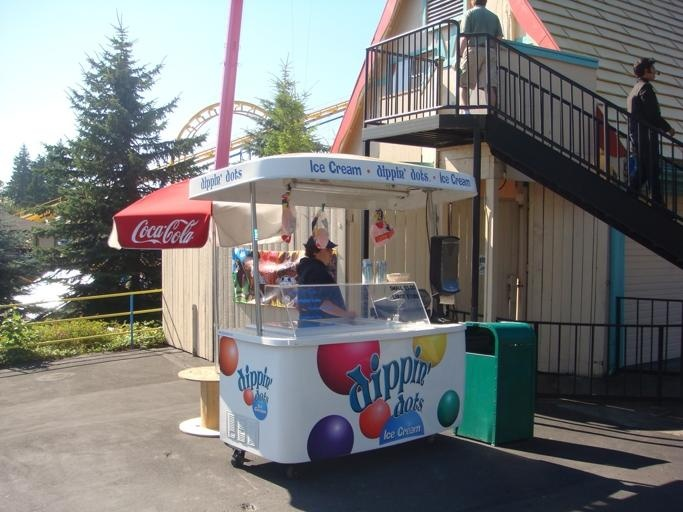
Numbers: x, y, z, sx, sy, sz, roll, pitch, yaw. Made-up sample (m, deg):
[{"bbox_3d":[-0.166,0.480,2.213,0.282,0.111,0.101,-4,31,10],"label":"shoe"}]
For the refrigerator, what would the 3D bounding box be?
[{"bbox_3d":[-0.087,0.485,10.176,3.963,2.786,2.113,0,-1,-41],"label":"refrigerator"}]

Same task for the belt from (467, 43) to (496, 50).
[{"bbox_3d":[2.393,-3.597,12.520,0.235,0.060,0.233,-6,10,-40],"label":"belt"}]

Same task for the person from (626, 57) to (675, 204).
[{"bbox_3d":[5.333,-2.201,12.731,0.680,2.595,1.363,2,6,21],"label":"person"}]

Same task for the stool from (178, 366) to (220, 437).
[{"bbox_3d":[-2.123,2.122,10.868,0.589,0.911,0.843,-2,6,-14],"label":"stool"}]

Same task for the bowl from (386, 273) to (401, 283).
[{"bbox_3d":[0.808,0.325,11.305,0.239,0.116,0.238,-1,6,0],"label":"bowl"}]

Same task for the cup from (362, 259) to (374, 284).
[{"bbox_3d":[0.406,0.222,11.188,0.144,0.339,0.479,0,6,5],"label":"cup"}]
